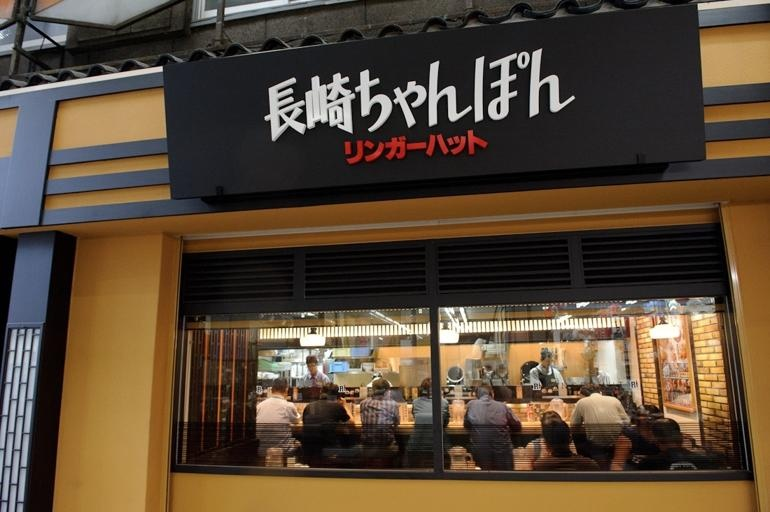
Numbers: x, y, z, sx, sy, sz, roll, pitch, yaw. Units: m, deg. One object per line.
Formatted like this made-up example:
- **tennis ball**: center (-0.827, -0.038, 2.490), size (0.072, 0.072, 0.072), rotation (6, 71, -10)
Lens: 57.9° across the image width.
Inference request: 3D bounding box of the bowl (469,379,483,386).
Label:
- **bowl**: center (0.951, 1.314, 7.307), size (0.106, 0.058, 0.072), rotation (-1, -6, 6)

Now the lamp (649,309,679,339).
- **lamp**: center (2.884, 0.691, 7.203), size (0.274, 0.312, 0.277), rotation (-6, -8, 23)

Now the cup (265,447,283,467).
- **cup**: center (-1.183, 2.135, 7.445), size (0.177, 0.175, 0.172), rotation (0, -19, 0)

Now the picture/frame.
- **picture/frame**: center (2.962, 1.091, 7.120), size (0.062, 0.965, 0.360), rotation (-2, -3, -42)

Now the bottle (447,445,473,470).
- **bottle**: center (0.786, 2.072, 7.196), size (0.273, 0.245, 0.203), rotation (-1, -7, 5)
